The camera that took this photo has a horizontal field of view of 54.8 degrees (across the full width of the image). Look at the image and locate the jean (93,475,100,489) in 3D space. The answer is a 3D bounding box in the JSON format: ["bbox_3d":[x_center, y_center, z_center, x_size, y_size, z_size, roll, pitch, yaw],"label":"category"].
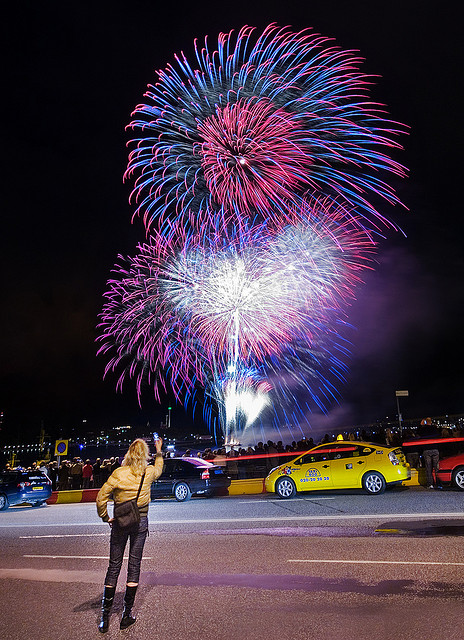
[{"bbox_3d":[-6.419,7.651,21.202,0.281,0.607,0.732,1,-14,-17],"label":"jean"}]

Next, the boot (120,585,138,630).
[{"bbox_3d":[-0.892,2.444,3.866,0.141,0.337,0.319,0,-14,-13],"label":"boot"}]

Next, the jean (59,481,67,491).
[{"bbox_3d":[-8.185,8.075,21.765,0.456,0.442,0.247,-3,-14,8],"label":"jean"}]

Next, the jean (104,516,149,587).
[{"bbox_3d":[-0.918,2.013,3.942,0.332,0.668,0.191,6,6,-14],"label":"jean"}]

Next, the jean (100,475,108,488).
[{"bbox_3d":[-5.777,7.284,20.190,0.332,0.516,2.295,1,-14,-16],"label":"jean"}]

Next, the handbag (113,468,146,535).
[{"bbox_3d":[-0.900,1.615,3.963,0.288,0.510,0.171,1,-14,-17],"label":"handbag"}]

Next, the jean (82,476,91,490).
[{"bbox_3d":[-6.759,7.597,20.909,0.323,0.547,0.486,2,-15,-22],"label":"jean"}]

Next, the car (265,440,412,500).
[{"bbox_3d":[3.003,4.362,13.275,3.715,1.447,1.782,-8,-24,19],"label":"car"}]

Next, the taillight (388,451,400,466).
[{"bbox_3d":[4.376,3.796,12.262,0.204,0.373,0.087,-25,-11,-25],"label":"taillight"}]

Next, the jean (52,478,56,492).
[{"bbox_3d":[-9.278,8.586,23.407,0.158,0.488,1.386,2,-15,-21],"label":"jean"}]
